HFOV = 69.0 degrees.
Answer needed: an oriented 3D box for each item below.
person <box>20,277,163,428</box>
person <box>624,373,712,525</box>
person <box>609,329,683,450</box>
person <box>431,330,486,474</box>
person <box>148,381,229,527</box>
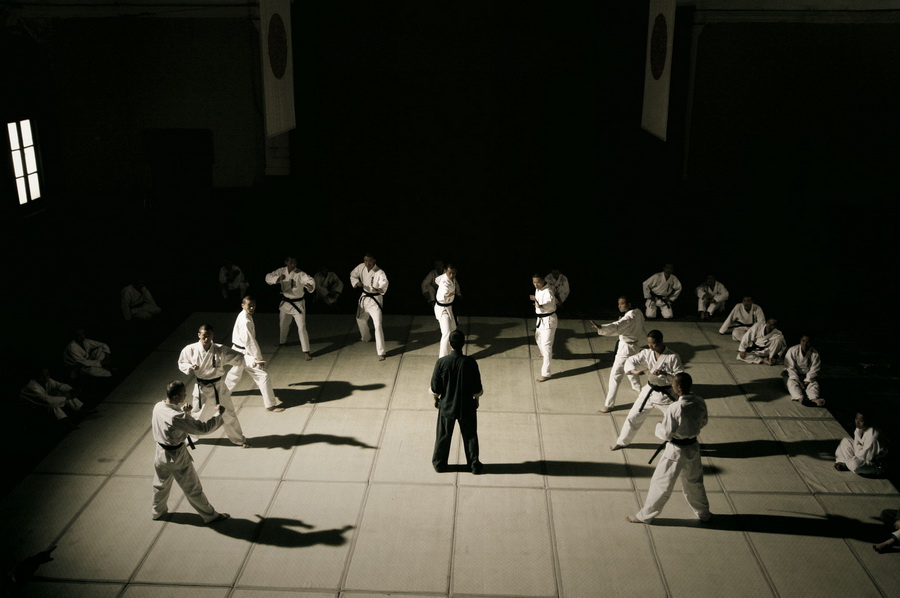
[{"bbox_3d":[-6.795,1.145,12.632,0.941,1.542,3.129,33,24,-14],"label":"person"},{"bbox_3d":[3.222,2.140,9.294,1.078,2.196,0.397,-4,17,-8],"label":"person"},{"bbox_3d":[3.232,1.519,10.563,1.297,1.939,1.057,2,7,-6],"label":"person"},{"bbox_3d":[0.091,1.585,10.191,0.775,2.238,0.576,-2,17,-4],"label":"person"},{"bbox_3d":[-3.820,2.145,9.336,1.116,2.147,0.458,2,17,10],"label":"person"}]
